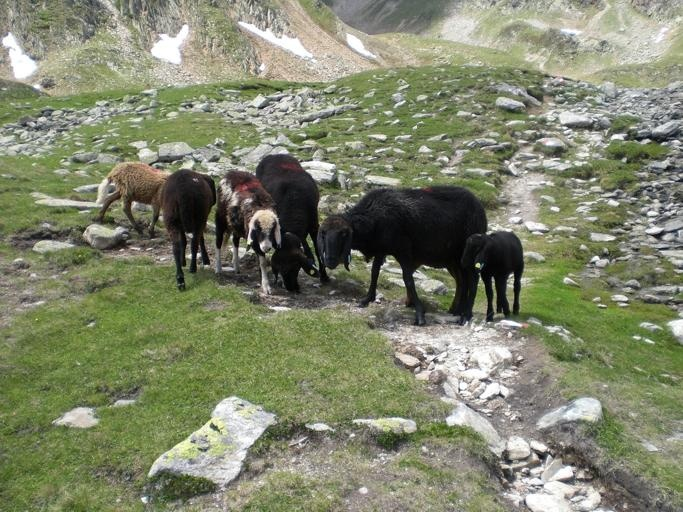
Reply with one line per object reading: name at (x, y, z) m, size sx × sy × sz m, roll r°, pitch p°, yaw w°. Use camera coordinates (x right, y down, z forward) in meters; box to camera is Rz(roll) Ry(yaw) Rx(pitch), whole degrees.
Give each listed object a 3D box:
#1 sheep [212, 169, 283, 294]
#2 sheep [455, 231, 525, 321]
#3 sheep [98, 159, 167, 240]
sheep at (-2.816, -0.780, 15.387) m, size 1.692 × 3.368 × 3.211 m, roll -4°, pitch 13°, yaw -24°
sheep at (4.054, 0.594, 13.928) m, size 2.108 × 2.463 × 1.029 m, roll -10°, pitch 17°, yaw -42°
sheep at (-7.251, -2.041, 18.075) m, size 2.282 × 2.391 × 1.211 m, roll 2°, pitch 13°, yaw 1°
